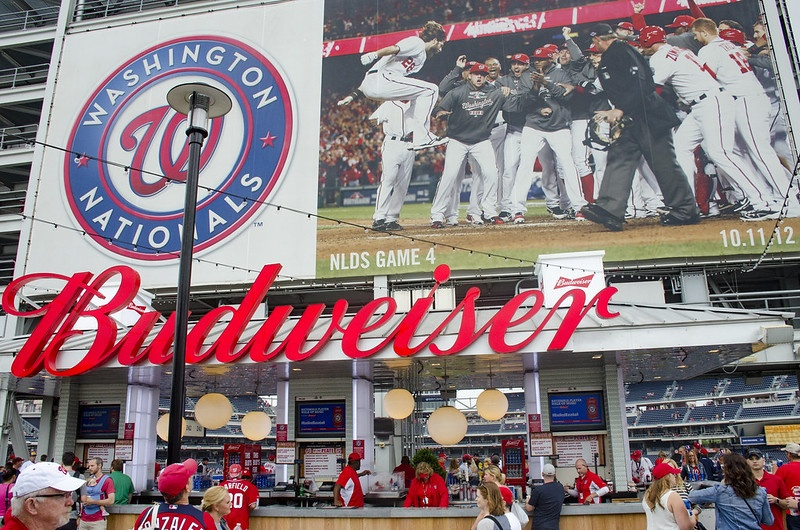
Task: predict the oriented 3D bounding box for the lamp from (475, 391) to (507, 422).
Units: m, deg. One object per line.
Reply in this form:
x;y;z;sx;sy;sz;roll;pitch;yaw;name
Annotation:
3.408;5.191;46.063;1.085;1.090;0.934;-1;-16;2;lamp

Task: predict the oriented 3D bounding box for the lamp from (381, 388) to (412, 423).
-0.037;5.148;46.158;1.024;1.089;0.547;0;-16;-1;lamp

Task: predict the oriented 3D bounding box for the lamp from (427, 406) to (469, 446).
1.712;5.837;45.185;1.350;1.365;0.820;0;-16;0;lamp

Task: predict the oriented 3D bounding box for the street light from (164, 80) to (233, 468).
-6.844;0.224;39.711;1.713;12.425;2.539;3;-16;-11;street light

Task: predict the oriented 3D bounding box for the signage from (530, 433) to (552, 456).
5.405;6.951;47.354;0.865;0.829;0.122;-2;-10;5;signage

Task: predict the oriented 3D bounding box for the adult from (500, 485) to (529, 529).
3.635;7.719;39.460;0.402;1.302;1.053;-14;5;-11;adult

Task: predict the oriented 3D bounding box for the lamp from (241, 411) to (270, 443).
-5.490;6.121;47.309;1.014;1.170;1.343;1;-16;-3;lamp
